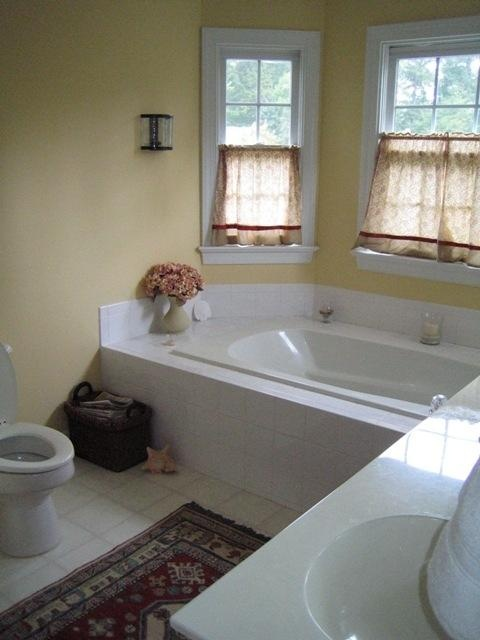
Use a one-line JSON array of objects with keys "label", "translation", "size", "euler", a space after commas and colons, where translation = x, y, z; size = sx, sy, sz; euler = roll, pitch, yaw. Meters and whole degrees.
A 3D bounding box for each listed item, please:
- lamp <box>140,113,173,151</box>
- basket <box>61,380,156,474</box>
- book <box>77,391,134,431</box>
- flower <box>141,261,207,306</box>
[{"label": "lamp", "translation": [-0.492, -1.082, 3.023], "size": [0.214, 0.198, 0.117], "euler": [-1, 12, -13]}, {"label": "basket", "translation": [-0.728, 0.576, 2.902], "size": [0.432, 0.350, 0.321], "euler": [10, 14, 40]}, {"label": "book", "translation": [-0.710, 0.479, 2.787], "size": [0.204, 0.073, 0.162], "euler": [15, 19, 33]}, {"label": "flower", "translation": [-0.426, -0.232, 3.239], "size": [0.246, 0.198, 0.297], "euler": [10, 11, 42]}]
